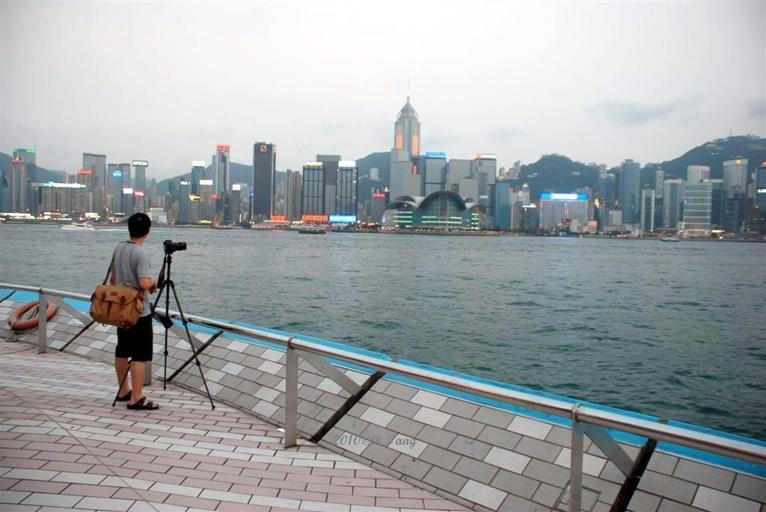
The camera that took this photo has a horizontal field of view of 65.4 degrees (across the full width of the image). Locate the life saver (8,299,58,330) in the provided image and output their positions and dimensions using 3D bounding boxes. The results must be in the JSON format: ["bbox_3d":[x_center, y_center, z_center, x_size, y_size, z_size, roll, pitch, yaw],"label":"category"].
[{"bbox_3d":[-6.075,1.022,10.383,0.555,0.134,0.555,18,31,38],"label":"life saver"}]

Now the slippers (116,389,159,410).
[{"bbox_3d":[-3.000,1.783,7.438,0.625,0.201,0.219,1,4,-8],"label":"slippers"}]

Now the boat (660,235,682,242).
[{"bbox_3d":[67.063,-4.217,137.971,3.897,1.257,2.030,-1,7,9],"label":"boat"}]

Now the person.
[{"bbox_3d":[-3.085,0.666,7.417,0.571,2.434,1.013,0,3,-24],"label":"person"}]

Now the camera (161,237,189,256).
[{"bbox_3d":[-2.759,-0.138,7.761,0.419,0.216,0.363,-3,2,-8],"label":"camera"}]

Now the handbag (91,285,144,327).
[{"bbox_3d":[-3.145,0.579,7.113,0.539,0.365,0.212,5,-12,1],"label":"handbag"}]
